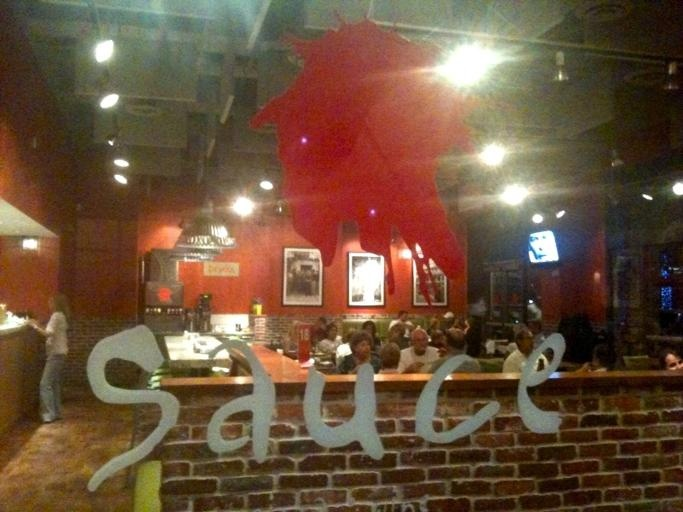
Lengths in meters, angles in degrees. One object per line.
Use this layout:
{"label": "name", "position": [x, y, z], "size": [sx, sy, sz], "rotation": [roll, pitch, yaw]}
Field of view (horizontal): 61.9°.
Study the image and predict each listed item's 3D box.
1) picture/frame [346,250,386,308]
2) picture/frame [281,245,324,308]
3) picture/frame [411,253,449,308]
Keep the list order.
{"label": "picture/frame", "position": [0.152, 0.148, 3.907], "size": [0.349, 0.515, 0.018], "rotation": [-2, 7, -10]}
{"label": "picture/frame", "position": [-0.267, 0.124, 3.986], "size": [0.409, 0.573, 0.038], "rotation": [0, -5, 1]}
{"label": "picture/frame", "position": [0.583, 0.176, 3.807], "size": [0.231, 0.336, 0.012], "rotation": [-1, 16, 10]}
